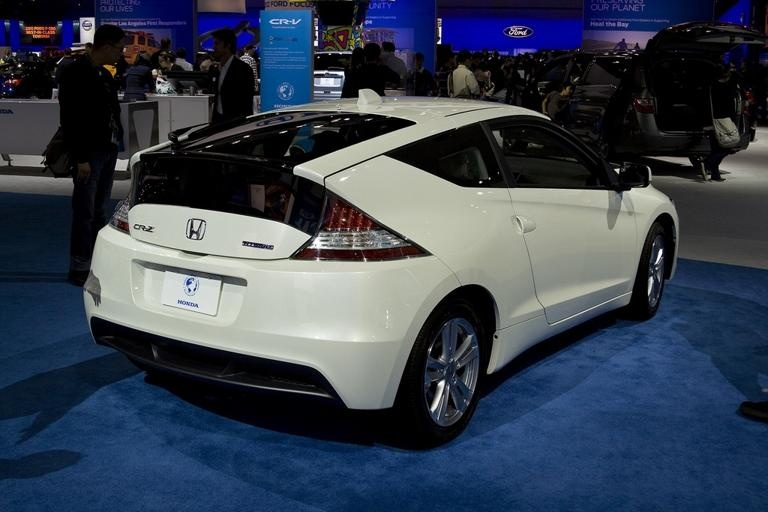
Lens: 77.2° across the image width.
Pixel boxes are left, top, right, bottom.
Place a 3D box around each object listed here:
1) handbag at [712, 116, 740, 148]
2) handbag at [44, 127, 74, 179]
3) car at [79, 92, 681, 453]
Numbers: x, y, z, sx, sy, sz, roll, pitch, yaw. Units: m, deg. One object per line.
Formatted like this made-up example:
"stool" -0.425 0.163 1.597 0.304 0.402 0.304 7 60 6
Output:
"handbag" 8.857 -3.216 12.487 0.824 0.852 0.442 -7 7 -36
"handbag" -3.857 -1.241 5.671 0.253 0.596 0.813 -7 13 -34
"car" 0.213 -0.084 3.419 3.828 2.142 1.596 -7 14 -36
